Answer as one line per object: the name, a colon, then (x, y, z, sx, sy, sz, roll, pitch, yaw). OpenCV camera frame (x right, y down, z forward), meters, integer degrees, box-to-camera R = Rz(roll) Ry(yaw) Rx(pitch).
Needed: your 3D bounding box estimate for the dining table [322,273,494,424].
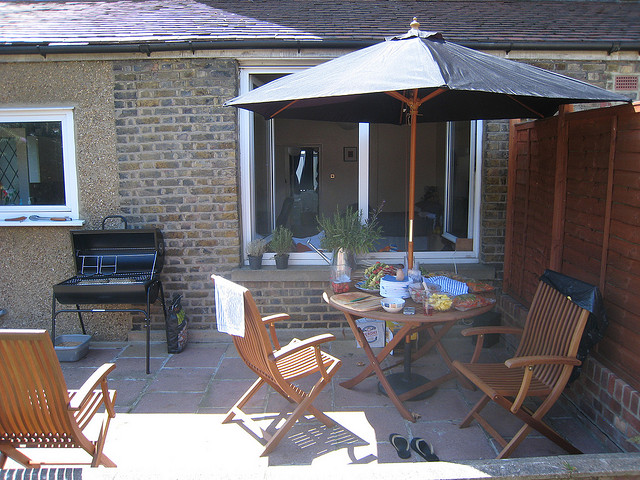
dining table: (0.739, 0.753, 5.813, 1.469, 0.874, 1.415, -11, 19, -33)

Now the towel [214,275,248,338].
towel: (-0.704, 0.552, 4.956, 0.059, 0.442, 0.487, -1, 2, -39)

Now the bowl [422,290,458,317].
bowl: (1.026, 0.551, 5.309, 0.252, 0.106, 0.240, -1, 4, 0)

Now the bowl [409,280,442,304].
bowl: (0.934, 0.450, 5.411, 0.230, 0.103, 0.215, -1, 5, 0)

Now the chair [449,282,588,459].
chair: (1.678, 1.102, 5.157, 1.090, 1.270, 0.951, -6, 11, -1)

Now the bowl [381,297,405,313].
bowl: (0.649, 0.557, 5.289, 0.207, 0.119, 0.143, -6, 12, -7)

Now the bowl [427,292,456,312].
bowl: (1.068, 0.526, 5.344, 0.194, 0.093, 0.184, 0, 0, 0)

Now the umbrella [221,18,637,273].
umbrella: (1.042, -1.324, 5.563, 3.250, 2.017, 3.133, -12, 17, -34)

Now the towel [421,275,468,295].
towel: (1.187, 0.409, 5.623, 0.290, 0.064, 0.190, 13, 39, 22)

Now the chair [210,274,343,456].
chair: (-0.341, 1.008, 5.248, 1.080, 1.273, 1.131, 2, 6, 15)
